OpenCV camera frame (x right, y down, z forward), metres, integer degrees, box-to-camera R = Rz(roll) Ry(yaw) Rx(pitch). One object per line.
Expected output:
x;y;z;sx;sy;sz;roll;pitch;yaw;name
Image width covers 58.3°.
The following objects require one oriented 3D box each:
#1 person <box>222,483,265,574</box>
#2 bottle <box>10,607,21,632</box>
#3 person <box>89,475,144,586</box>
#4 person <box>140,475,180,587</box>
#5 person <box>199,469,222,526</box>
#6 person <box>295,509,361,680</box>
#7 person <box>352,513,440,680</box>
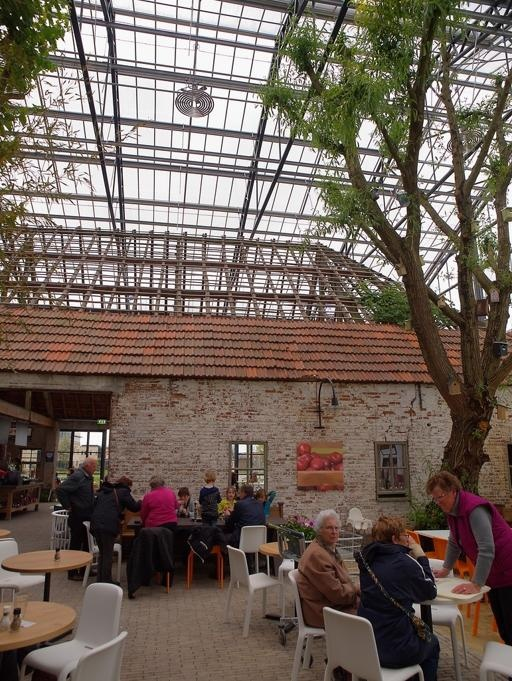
-0.197;2.910;7.118;0.735;1.352;0.607;1;-5;28;person
-1.281;1.477;2.438;0.045;0.096;0.066;8;-17;-27;bottle
-2.060;2.719;6.603;0.649;1.427;0.643;3;-15;-10;person
-1.470;2.847;6.874;0.617;1.548;0.641;9;-17;-28;person
-0.794;2.760;7.681;0.378;1.079;0.397;4;-11;-17;person
0.569;1.798;3.617;0.446;0.855;0.377;6;-16;-19;person
0.875;1.581;2.783;0.534;0.942;0.437;2;-15;-3;person
